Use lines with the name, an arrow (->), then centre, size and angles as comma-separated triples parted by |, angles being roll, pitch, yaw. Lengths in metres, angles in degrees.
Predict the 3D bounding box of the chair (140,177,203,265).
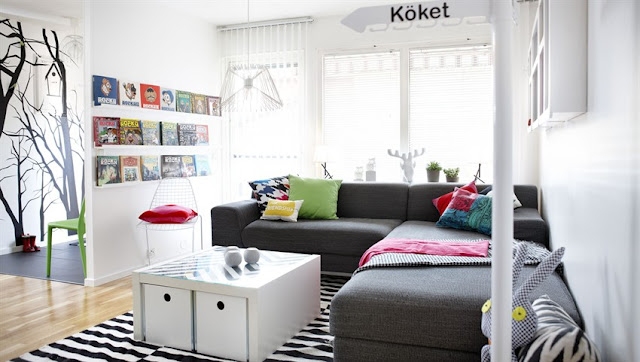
chair -> -1.818, 0.466, 5.326 | 0.648, 0.789, 0.642 | 6, 24, -11

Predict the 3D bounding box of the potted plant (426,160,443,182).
potted plant -> 1.501, -0.135, 5.330 | 0.250, 0.261, 0.256 | 0, 2, 19

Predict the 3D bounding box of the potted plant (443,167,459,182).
potted plant -> 1.675, -0.076, 5.270 | 0.187, 0.163, 0.168 | 1, 11, 11

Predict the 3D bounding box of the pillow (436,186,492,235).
pillow -> 1.527, 0.352, 4.331 | 0.530, 0.484, 0.161 | 13, -13, 45
